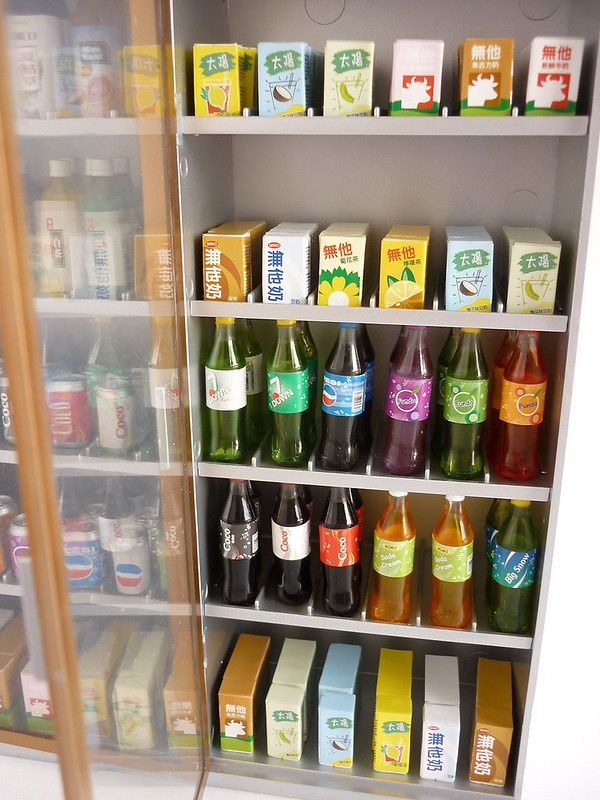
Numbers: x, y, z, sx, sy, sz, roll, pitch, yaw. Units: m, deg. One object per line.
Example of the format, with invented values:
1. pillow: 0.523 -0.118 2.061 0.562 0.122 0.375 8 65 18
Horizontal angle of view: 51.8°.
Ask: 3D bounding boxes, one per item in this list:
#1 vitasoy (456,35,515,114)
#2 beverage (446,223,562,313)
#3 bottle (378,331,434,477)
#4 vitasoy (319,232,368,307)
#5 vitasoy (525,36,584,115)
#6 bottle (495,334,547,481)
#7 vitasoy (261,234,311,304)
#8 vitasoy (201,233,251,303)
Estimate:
1. vitasoy: 0.320 -0.557 1.095 0.103 0.133 0.081 -1 6 -9
2. beverage: 0.369 -0.249 1.123 0.167 0.127 0.176 4 23 6
3. bottle: 0.230 -0.004 1.293 0.087 0.339 0.090 1 23 0
4. vitasoy: 0.094 -0.245 1.296 0.110 0.219 0.182 3 9 6
5. vitasoy: 0.440 -0.575 1.061 0.087 0.156 0.087 14 69 22
6. bottle: 0.443 0.011 1.238 0.084 0.305 0.098 4 20 19
7. vitasoy: -0.022 -0.276 1.269 0.083 0.142 0.160 2 18 7
8. vitasoy: -0.144 -0.286 1.248 0.083 0.163 0.094 7 36 6
